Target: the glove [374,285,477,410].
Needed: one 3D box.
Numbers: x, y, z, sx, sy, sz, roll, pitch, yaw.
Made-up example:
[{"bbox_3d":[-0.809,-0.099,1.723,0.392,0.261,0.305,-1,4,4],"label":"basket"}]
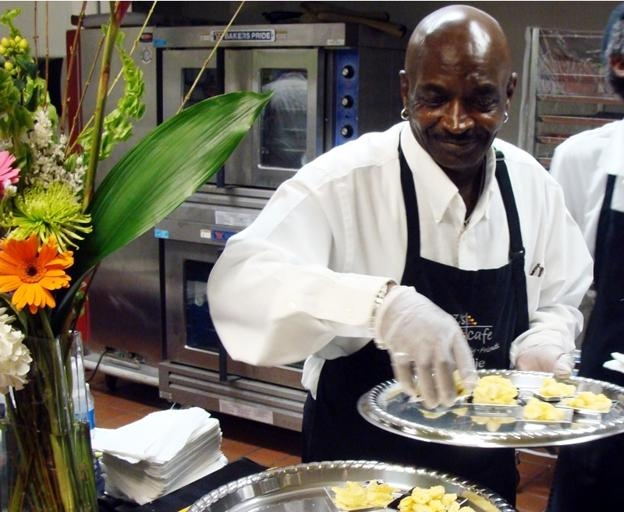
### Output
[{"bbox_3d":[0.193,0.157,1.008,0.142,0.228,0.060,-13,-14,16],"label":"glove"}]
